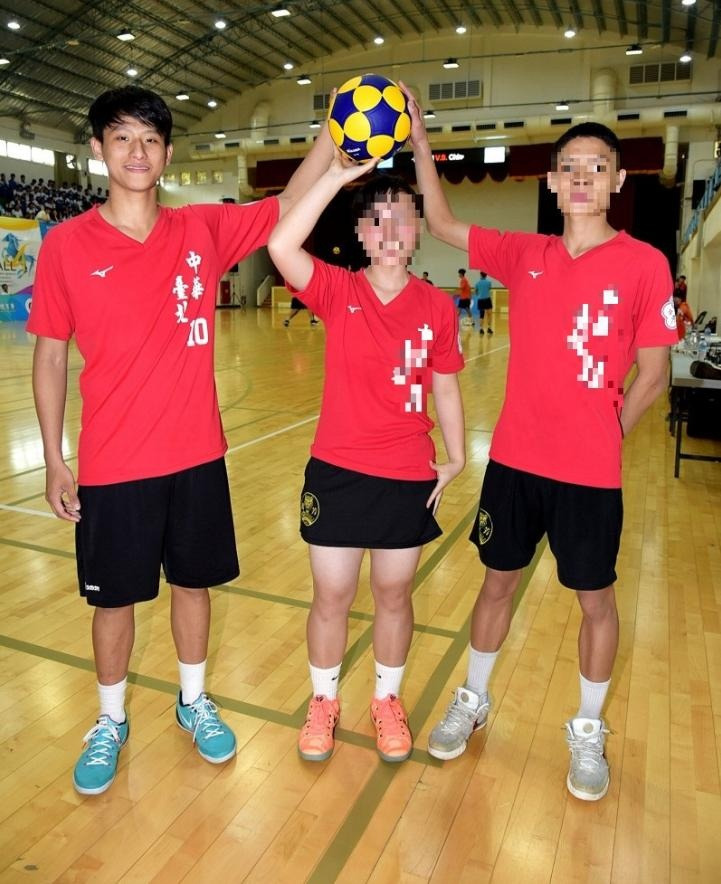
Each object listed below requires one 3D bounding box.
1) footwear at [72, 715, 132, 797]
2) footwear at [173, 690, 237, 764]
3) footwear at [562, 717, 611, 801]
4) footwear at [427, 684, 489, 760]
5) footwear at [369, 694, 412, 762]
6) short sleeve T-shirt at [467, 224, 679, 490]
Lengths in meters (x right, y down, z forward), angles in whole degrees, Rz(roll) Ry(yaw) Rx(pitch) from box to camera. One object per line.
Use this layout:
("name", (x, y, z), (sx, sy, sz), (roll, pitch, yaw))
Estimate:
("footwear", (-0.691, 0.842, 1.706), (0.076, 0.081, 0.224), (10, 8, -8))
("footwear", (-0.465, 0.832, 1.852), (0.096, 0.101, 0.254), (-18, 28, -29))
("footwear", (0.603, 0.845, 1.695), (0.089, 0.093, 0.224), (0, 17, 12))
("footwear", (0.302, 0.803, 1.902), (0.098, 0.119, 0.280), (23, 20, 23))
("footwear", (0.093, 0.825, 1.813), (0.068, 0.081, 0.202), (-3, 4, -3))
("short sleeve T-shirt", (0.526, -0.241, 1.663), (0.553, 0.682, 0.263), (6, 10, 28))
